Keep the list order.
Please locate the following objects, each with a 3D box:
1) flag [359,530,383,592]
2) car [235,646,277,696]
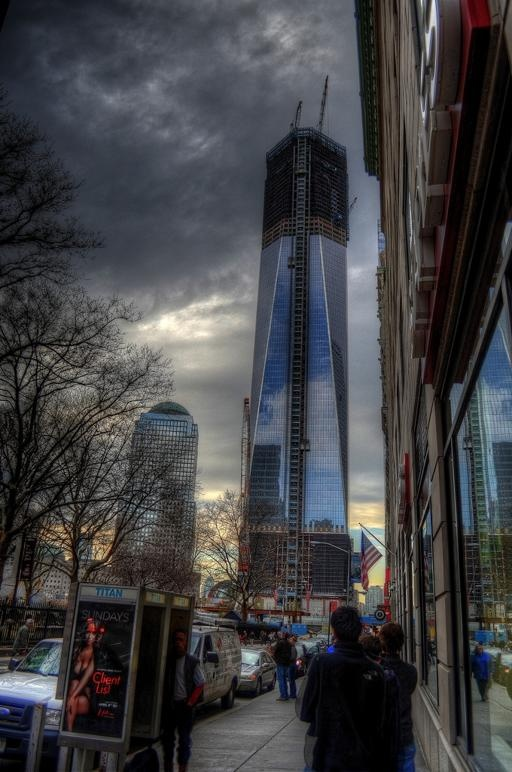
[{"bbox_3d":[6.307,9.675,30.020,1.319,4.500,0.411,2,18,13],"label":"flag"},{"bbox_3d":[0.012,9.508,18.072,1.325,1.101,2.904,-3,-34,7],"label":"car"}]
